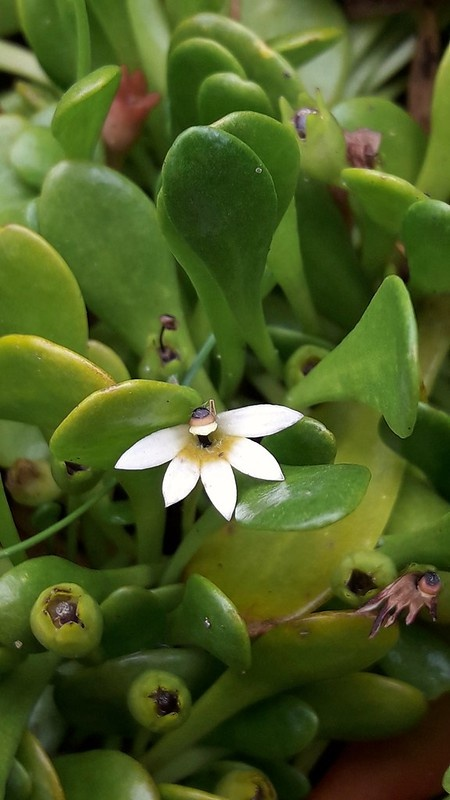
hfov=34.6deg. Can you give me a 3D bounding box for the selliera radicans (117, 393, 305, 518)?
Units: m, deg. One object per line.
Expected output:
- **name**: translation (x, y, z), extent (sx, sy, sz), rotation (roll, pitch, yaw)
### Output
- **selliera radicans**: translation (-0.006, 0.024, 0.334), extent (0.060, 0.035, 0.069), rotation (-24, 51, -1)
